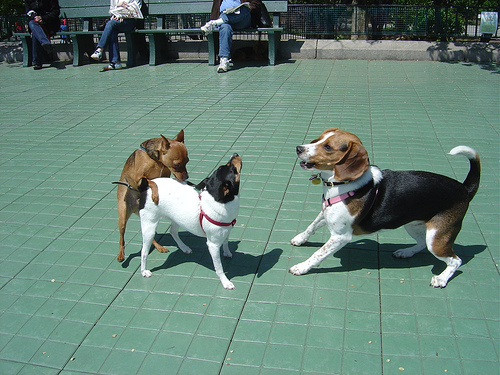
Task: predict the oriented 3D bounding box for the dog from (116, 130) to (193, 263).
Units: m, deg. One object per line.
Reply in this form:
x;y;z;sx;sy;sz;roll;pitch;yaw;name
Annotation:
-1.197;0.008;5.025;1.338;1.142;0.550;-1;7;38;dog

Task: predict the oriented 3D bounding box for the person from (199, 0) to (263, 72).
-0.578;-4.592;12.620;0.941;2.003;1.633;15;26;39;person

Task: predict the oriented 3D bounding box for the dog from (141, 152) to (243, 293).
-0.585;0.323;4.513;1.262;1.334;0.741;6;20;20;dog

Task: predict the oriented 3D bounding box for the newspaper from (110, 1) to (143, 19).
-3.799;-5.452;12.877;0.703;0.255;0.622;2;18;0;newspaper

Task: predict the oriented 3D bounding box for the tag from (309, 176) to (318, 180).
0.715;-0.104;4.648;0.086;0.053;0.046;1;20;6;tag

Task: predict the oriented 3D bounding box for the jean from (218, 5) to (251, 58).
-0.506;-4.684;12.437;0.455;1.435;1.211;16;26;40;jean

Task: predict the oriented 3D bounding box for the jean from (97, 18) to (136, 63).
-4.191;-4.588;12.925;0.329;1.342;1.431;12;23;33;jean

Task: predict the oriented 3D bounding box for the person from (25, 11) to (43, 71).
-7.148;-4.848;13.703;0.472;1.880;1.312;-11;22;-23;person
